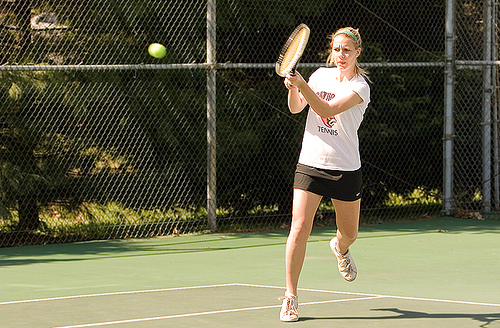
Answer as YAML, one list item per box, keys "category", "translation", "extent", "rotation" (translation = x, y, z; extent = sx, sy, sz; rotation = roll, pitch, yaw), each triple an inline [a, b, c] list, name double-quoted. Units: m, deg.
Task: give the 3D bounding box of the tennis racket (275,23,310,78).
- category: "tennis racket"
  translation: [0.380, -1.000, 5.104]
  extent: [0.254, 0.567, 0.436]
  rotation: [0, -5, 10]

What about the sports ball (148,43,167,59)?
- category: "sports ball"
  translation: [-1.296, -1.606, 8.264]
  extent: [0.216, 0.260, 0.309]
  rotation: [1, -5, -6]

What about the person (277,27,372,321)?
- category: "person"
  translation: [0.661, 0.065, 5.400]
  extent: [0.813, 2.594, 1.051]
  rotation: [1, -5, -2]

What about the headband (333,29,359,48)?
- category: "headband"
  translation: [0.869, -1.124, 5.274]
  extent: [0.230, 0.161, 0.105]
  rotation: [0, -5, 4]
